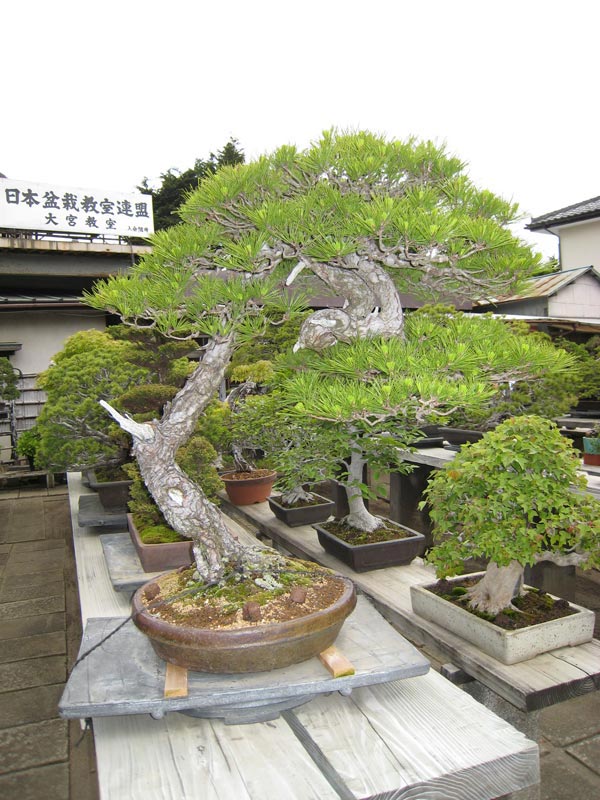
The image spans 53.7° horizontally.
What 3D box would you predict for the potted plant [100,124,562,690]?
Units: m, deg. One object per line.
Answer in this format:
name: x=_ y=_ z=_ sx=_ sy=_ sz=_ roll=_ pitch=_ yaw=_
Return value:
potted plant: x=0.155 y=-0.140 z=3.251 sx=2.322 sy=2.124 sz=2.170 roll=-1 pitch=-1 yaw=43
